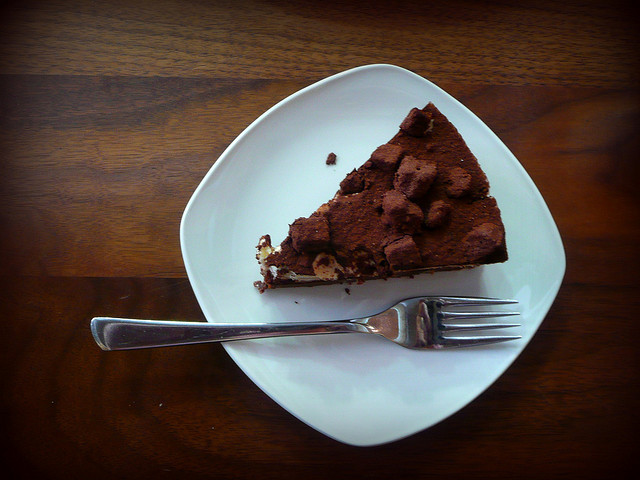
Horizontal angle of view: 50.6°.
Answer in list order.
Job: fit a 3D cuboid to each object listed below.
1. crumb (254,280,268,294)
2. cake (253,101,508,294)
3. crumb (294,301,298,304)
[{"bbox_3d":[-0.250,0.192,2.832,0.073,0.016,0.037,-3,92,10],"label":"crumb"},{"bbox_3d":[0.133,-0.154,2.758,1.085,0.333,0.657,-10,76,1],"label":"cake"},{"bbox_3d":[-0.104,0.261,2.832,0.006,0.019,0.011,32,77,23],"label":"crumb"}]
